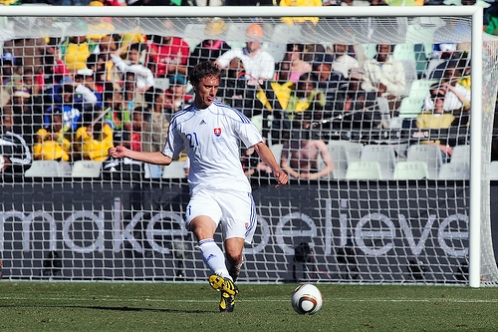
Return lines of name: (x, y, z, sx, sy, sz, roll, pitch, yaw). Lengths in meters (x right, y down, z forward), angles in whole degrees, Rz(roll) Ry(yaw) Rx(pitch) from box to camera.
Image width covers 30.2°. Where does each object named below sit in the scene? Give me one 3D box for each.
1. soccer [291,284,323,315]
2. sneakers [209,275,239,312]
soccer: (0.666, 1.508, 10.339, 0.348, 0.330, 0.324, 15, -14, 9)
sneakers: (-0.252, 1.374, 10.245, 0.201, 0.562, 0.259, -11, 16, 14)
